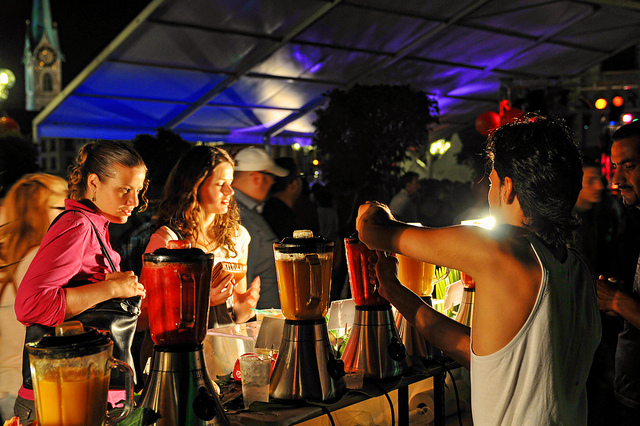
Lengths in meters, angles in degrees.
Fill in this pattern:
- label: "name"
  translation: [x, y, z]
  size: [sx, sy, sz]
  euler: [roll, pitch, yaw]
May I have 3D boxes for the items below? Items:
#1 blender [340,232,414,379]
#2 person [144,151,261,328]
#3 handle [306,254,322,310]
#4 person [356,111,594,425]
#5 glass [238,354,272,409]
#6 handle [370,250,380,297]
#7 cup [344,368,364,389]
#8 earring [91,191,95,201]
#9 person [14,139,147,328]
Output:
- label: "blender"
  translation: [0.301, 0.494, 3.350]
  size: [0.381, 0.783, 0.218]
  euler: [-1, -5, 7]
- label: "person"
  translation: [-0.760, 0.153, 4.068]
  size: [0.711, 1.192, 1.003]
  euler: [0, -6, -6]
- label: "handle"
  translation: [-0.027, 0.344, 3.092]
  size: [0.075, 0.277, 0.068]
  euler: [-1, -5, 4]
- label: "person"
  translation: [0.759, 0.256, 3.103]
  size: [0.935, 1.557, 0.891]
  euler: [3, -7, -36]
- label: "glass"
  translation: [-0.334, 0.891, 3.156]
  size: [0.183, 0.261, 0.185]
  euler: [-13, -15, 30]
- label: "handle"
  translation: [0.299, 0.319, 3.295]
  size: [0.039, 0.249, 0.072]
  euler: [-1, -5, 5]
- label: "cup"
  translation: [0.182, 0.867, 3.209]
  size: [0.102, 0.068, 0.081]
  euler: [-2, -6, 14]
- label: "earring"
  translation: [-1.327, -0.107, 3.608]
  size: [0.012, 0.054, 0.018]
  euler: [3, -7, -36]
- label: "person"
  translation: [-1.347, 0.128, 3.744]
  size: [0.689, 1.081, 1.149]
  euler: [7, -5, -5]
